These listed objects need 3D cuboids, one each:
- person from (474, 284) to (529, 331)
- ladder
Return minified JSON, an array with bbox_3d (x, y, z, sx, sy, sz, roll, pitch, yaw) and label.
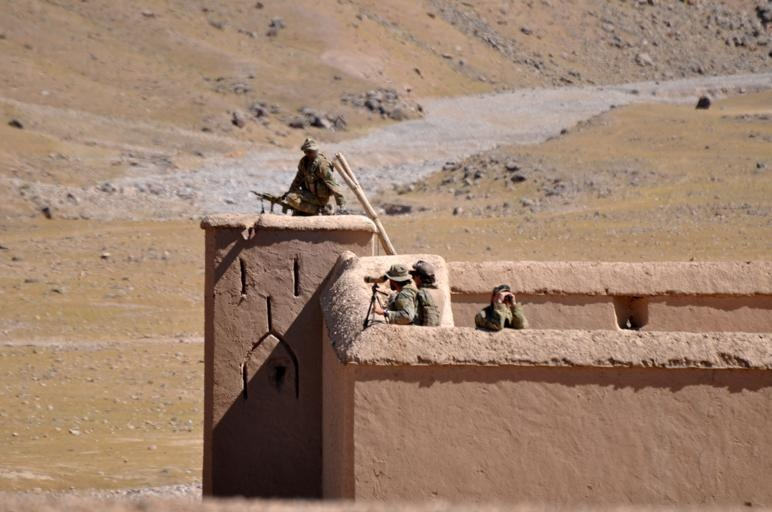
[{"bbox_3d":[3.987,1.841,64.126,1.527,1.410,0.847,-6,14,-30],"label":"person"},{"bbox_3d":[-0.725,-1.962,66.539,1.868,4.069,2.081,4,-1,-36],"label":"ladder"}]
